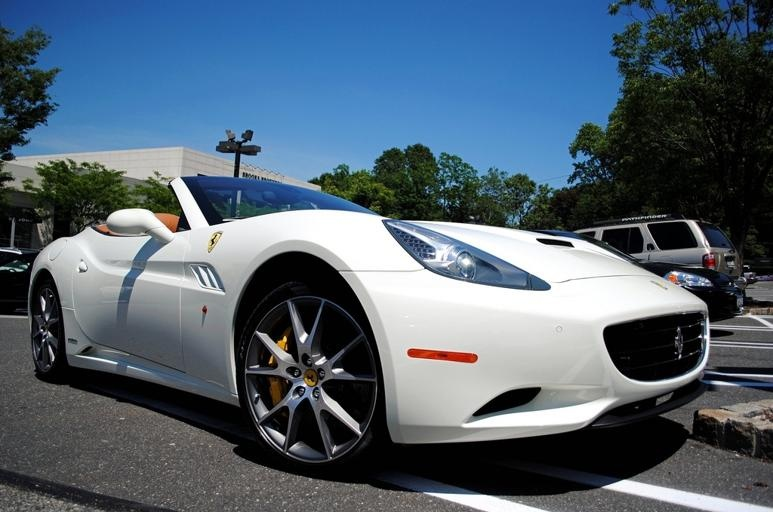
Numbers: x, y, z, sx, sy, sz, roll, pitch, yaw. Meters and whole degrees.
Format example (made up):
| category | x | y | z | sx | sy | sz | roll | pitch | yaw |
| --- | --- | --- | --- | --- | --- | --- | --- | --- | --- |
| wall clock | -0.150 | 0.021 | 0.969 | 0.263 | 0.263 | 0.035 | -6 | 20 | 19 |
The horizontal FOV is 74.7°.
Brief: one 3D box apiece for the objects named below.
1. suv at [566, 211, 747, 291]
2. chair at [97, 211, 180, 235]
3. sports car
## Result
| category | x | y | z | sx | sy | sz | roll | pitch | yaw |
| --- | --- | --- | --- | --- | --- | --- | --- | --- | --- |
| suv | 6.493 | -0.325 | 12.602 | 1.937 | 1.727 | 3.918 | 2 | 2 | -41 |
| chair | -1.796 | -0.232 | 3.713 | 0.556 | 0.207 | 0.425 | -2 | 4 | -17 |
| sports car | -0.427 | 0.311 | 3.553 | 4.472 | 1.843 | 1.376 | 3 | 4 | 29 |
